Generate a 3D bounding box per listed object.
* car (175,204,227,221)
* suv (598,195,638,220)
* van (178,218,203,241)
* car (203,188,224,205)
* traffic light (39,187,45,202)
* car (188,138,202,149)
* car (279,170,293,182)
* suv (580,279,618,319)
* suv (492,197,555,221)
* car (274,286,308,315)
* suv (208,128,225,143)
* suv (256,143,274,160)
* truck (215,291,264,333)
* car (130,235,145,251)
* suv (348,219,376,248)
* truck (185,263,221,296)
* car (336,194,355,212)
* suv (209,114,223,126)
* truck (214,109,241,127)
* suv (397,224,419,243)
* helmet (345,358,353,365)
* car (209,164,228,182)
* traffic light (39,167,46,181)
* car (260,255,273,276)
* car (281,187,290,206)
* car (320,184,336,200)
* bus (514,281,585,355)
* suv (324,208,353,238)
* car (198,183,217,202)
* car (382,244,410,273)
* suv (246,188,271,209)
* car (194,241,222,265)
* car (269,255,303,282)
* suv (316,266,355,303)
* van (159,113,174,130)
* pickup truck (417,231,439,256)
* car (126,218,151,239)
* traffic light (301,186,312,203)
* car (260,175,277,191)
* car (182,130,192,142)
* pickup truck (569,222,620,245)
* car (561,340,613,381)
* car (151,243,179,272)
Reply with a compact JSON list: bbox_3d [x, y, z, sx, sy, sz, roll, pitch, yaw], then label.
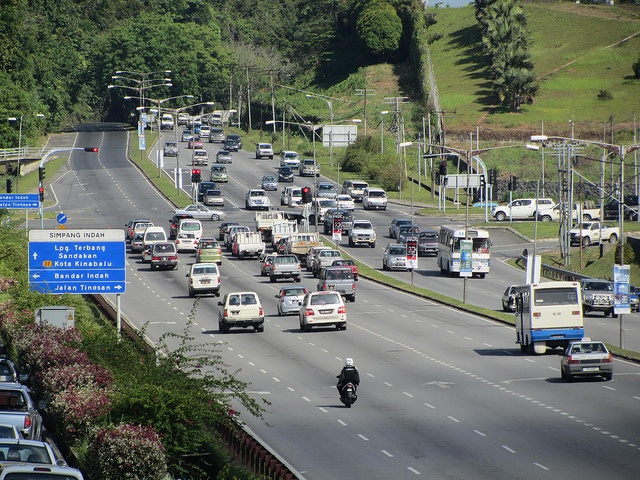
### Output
[{"bbox_3d":[-10.370,-2.375,123.770,3.790,1.353,1.782,-3,10,-19],"label":"car"},{"bbox_3d":[28.848,-3.035,131.878,2.848,1.642,1.852,3,4,19],"label":"suv"},{"bbox_3d":[-10.603,-0.774,111.548,1.800,1.581,1.556,4,9,35],"label":"van"},{"bbox_3d":[-10.116,-3.984,129.163,1.292,1.205,2.434,-1,-3,-10],"label":"car"},{"bbox_3d":[-22.364,-3.546,109.937,0.375,1.112,1.792,-3,7,-17],"label":"traffic light"},{"bbox_3d":[-14.450,-11.224,159.872,1.072,0.941,2.610,-2,3,-10],"label":"car"},{"bbox_3d":[-3.642,-6.876,146.187,1.487,1.452,2.098,1,8,19],"label":"car"},{"bbox_3d":[19.338,4.211,95.674,2.149,2.363,1.430,0,7,12],"label":"suv"},{"bbox_3d":[19.524,-3.180,132.172,5.608,2.351,2.438,1,1,-2],"label":"suv"},{"bbox_3d":[-1.957,4.102,92.468,1.287,1.151,2.253,-1,9,-6],"label":"car"},{"bbox_3d":[-13.323,-13.479,178.833,2.157,1.947,2.107,-4,8,-25],"label":"suv"},{"bbox_3d":[-6.645,-10.411,163.420,1.874,1.628,1.550,3,8,29],"label":"suv"},{"bbox_3d":[-4.994,4.685,86.960,1.736,1.723,3.281,-1,9,-8],"label":"truck"},{"bbox_3d":[-15.014,0.333,112.981,0.972,0.914,1.713,-1,13,-11],"label":"car"},{"bbox_3d":[3.546,-0.339,117.046,2.061,2.232,2.444,-2,7,-5],"label":"suv"},{"bbox_3d":[-8.087,2.813,95.534,1.402,1.445,2.710,-1,9,-10],"label":"truck"},{"bbox_3d":[2.233,-3.348,127.393,1.654,1.378,3.861,1,1,-3],"label":"car"},{"bbox_3d":[-15.549,-17.978,205.665,1.284,1.482,2.460,0,-4,-4],"label":"suv"},{"bbox_3d":[-15.295,-19.147,213.521,2.472,2.648,4.720,-1,-3,-6],"label":"truck"},{"bbox_3d":[7.394,-0.474,115.674,1.802,1.469,2.986,-1,7,4],"label":"suv"},{"bbox_3d":[1.577,6.772,74.951,0.363,0.496,0.509,2,9,-2],"label":"helmet"},{"bbox_3d":[-10.666,-6.818,144.829,1.800,1.697,2.385,-2,7,-6],"label":"car"},{"bbox_3d":[-22.967,-5.422,113.082,0.323,1.149,1.914,-3,7,-16],"label":"traffic light"},{"bbox_3d":[-4.073,1.927,103.692,0.713,0.770,1.581,0,11,-4],"label":"car"},{"bbox_3d":[-3.282,-4.101,131.225,0.840,0.981,1.513,0,10,-8],"label":"car"},{"bbox_3d":[0.564,-4.626,131.638,0.988,1.009,1.786,-1,-1,-7],"label":"car"},{"bbox_3d":[14.037,4.580,83.237,2.699,3.018,4.865,-1,4,-1],"label":"bus"},{"bbox_3d":[1.497,-1.545,120.149,1.444,1.627,2.995,1,1,-12],"label":"suv"},{"bbox_3d":[-11.110,-4.718,132.810,1.185,1.132,2.112,0,-1,-12],"label":"car"},{"bbox_3d":[5.977,1.544,107.040,1.861,2.087,3.938,0,-1,-6],"label":"car"},{"bbox_3d":[-5.969,-3.699,130.448,2.010,1.834,2.020,-3,7,-13],"label":"suv"},{"bbox_3d":[-8.648,1.032,106.396,1.814,1.840,1.577,-1,7,-1],"label":"car"},{"bbox_3d":[-2.609,2.284,101.704,2.227,2.041,1.163,-2,7,-8],"label":"car"},{"bbox_3d":[1.355,3.014,95.303,1.474,1.444,2.731,-1,10,-10],"label":"suv"},{"bbox_3d":[-21.122,-16.230,190.046,1.223,1.565,2.686,-1,0,-10],"label":"van"},{"bbox_3d":[9.077,0.386,115.970,1.660,2.033,1.730,0,7,6],"label":"pickup truck"},{"bbox_3d":[-15.271,-0.811,114.801,1.401,1.507,2.550,-1,13,-14],"label":"car"},{"bbox_3d":[-1.121,-3.621,112.913,0.638,1.310,1.419,-2,7,-7],"label":"traffic light"},{"bbox_3d":[-5.212,-5.698,141.289,1.601,1.486,2.544,-2,7,-4],"label":"car"},{"bbox_3d":[-16.554,-12.837,169.791,0.956,0.829,2.282,-2,3,-12],"label":"car"},{"bbox_3d":[24.030,-0.480,120.034,4.809,1.930,2.014,0,1,-40],"label":"pickup truck"},{"bbox_3d":[15.250,6.926,78.533,1.632,1.565,2.962,-1,8,3],"label":"car"},{"bbox_3d":[-12.040,1.352,105.646,1.920,2.048,1.222,-2,7,-11],"label":"car"}]
